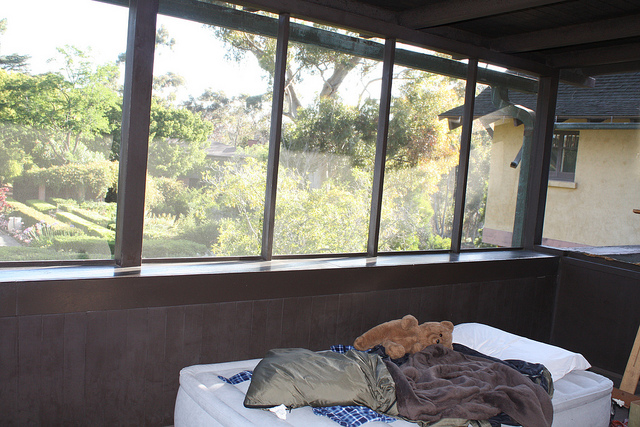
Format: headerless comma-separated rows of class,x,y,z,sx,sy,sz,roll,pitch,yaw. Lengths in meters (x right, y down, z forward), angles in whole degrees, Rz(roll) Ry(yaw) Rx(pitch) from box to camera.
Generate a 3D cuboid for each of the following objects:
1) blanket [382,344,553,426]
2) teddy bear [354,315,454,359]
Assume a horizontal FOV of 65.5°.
blanket,0.990,1.245,3.476,0.638,0.114,0.635,1,10,-15
teddy bear,0.746,1.010,4.146,0.525,0.216,0.413,-1,-4,-28
